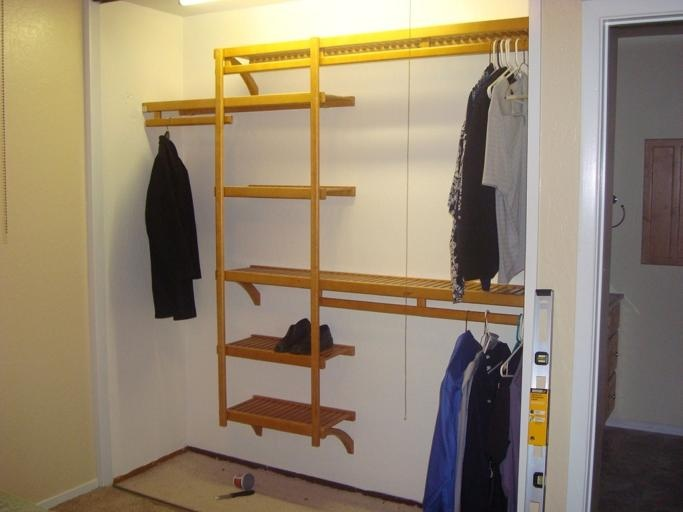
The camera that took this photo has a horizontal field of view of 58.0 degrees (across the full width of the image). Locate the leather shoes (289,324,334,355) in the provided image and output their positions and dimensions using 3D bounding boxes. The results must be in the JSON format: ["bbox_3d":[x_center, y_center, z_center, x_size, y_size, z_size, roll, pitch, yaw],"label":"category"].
[{"bbox_3d":[-0.163,0.497,3.732,0.100,0.156,0.342,1,1,33],"label":"leather shoes"}]

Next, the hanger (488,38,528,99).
[{"bbox_3d":[0.836,-0.951,3.110,0.185,0.310,0.366,3,15,15],"label":"hanger"}]

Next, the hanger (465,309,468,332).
[{"bbox_3d":[0.693,0.355,3.431,0.020,0.126,0.070,3,14,14],"label":"hanger"}]

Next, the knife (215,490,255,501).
[{"bbox_3d":[-0.653,1.460,3.766,0.185,0.038,0.035,-4,2,-26],"label":"knife"}]

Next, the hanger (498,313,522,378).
[{"bbox_3d":[0.845,0.436,3.084,0.096,0.283,0.314,3,15,15],"label":"hanger"}]
